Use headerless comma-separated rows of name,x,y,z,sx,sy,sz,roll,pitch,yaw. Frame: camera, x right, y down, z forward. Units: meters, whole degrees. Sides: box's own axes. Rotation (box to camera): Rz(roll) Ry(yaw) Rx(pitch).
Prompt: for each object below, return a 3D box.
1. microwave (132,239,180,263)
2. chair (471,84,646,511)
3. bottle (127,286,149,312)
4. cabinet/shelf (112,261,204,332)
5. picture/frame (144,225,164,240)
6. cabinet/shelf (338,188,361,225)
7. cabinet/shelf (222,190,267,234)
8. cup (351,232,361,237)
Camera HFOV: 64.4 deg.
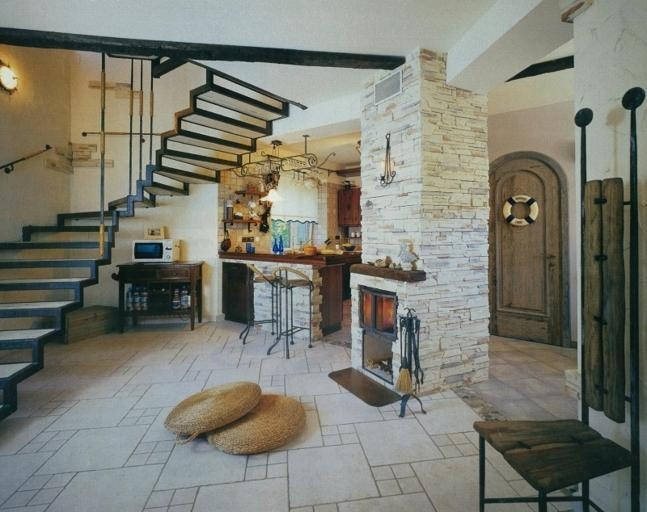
microwave,-2.376,-0.085,7.320,0.487,0.300,0.350,0,-3,-17
chair,1.717,0.379,3.608,1.032,3.108,0.681,1,3,-3
bottle,-2.624,0.588,7.273,0.295,0.331,0.240,0,3,-19
cabinet/shelf,-2.354,0.457,7.544,1.455,1.288,0.901,0,0,-20
picture/frame,-2.480,-0.358,7.535,0.277,0.179,0.148,0,3,-16
cabinet/shelf,0.551,-1.064,10.810,0.207,0.799,0.603,-1,4,-43
cabinet/shelf,-1.190,-0.723,8.273,0.359,0.661,1.183,2,3,19
cup,0.687,-0.469,11.172,0.290,0.112,0.051,3,3,37
